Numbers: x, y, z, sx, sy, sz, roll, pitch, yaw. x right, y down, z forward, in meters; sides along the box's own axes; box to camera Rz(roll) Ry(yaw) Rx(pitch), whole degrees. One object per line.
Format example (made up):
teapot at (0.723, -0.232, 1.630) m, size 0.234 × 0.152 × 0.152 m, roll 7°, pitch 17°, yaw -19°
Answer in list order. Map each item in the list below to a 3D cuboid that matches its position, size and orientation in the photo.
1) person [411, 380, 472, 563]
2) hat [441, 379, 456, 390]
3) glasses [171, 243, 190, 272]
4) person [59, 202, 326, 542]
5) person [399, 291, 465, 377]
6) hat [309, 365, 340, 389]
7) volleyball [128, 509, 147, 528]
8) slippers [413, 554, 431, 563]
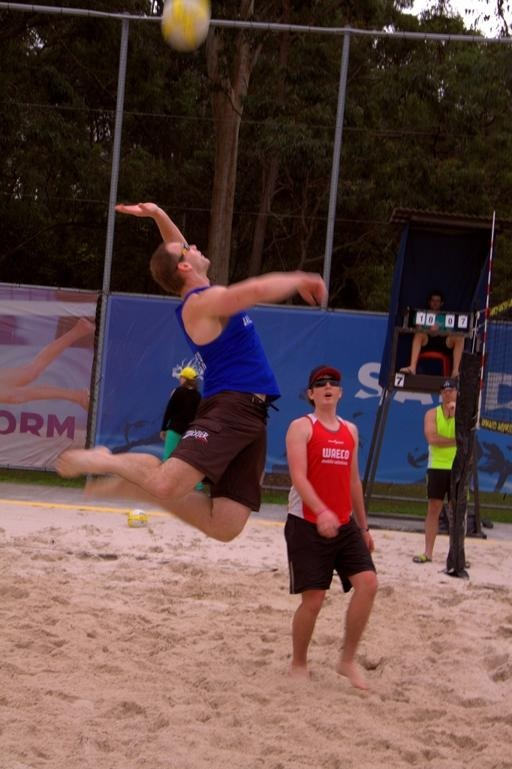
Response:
person at (1.461, 0.694, 6.080) m, size 0.272 × 1.437 × 0.917 m, roll 3°, pitch 0°, yaw 15°
hat at (1.720, -0.005, 6.665) m, size 0.122 × 0.091 × 0.131 m, roll 2°, pitch 2°, yaw 23°
glasses at (-0.319, -0.559, 3.257) m, size 0.027 × 0.098 × 0.091 m, roll 10°, pitch 11°, yaw 10°
person at (-0.212, 0.014, 3.090) m, size 0.945 × 1.394 × 0.601 m, roll 3°, pitch 0°, yaw 5°
person at (1.891, -0.541, 7.741) m, size 0.510 × 0.888 × 1.062 m, roll 3°, pitch 0°, yaw 15°
hat at (0.318, -0.041, 3.399) m, size 0.088 × 0.133 × 0.133 m, roll -1°, pitch 5°, yaw -11°
volleyball at (-1.037, 1.167, 6.543) m, size 0.113 × 0.154 × 0.149 m, roll -4°, pitch -3°, yaw 43°
slippers at (1.293, 1.360, 5.809) m, size 0.139 × 0.066 × 0.156 m, roll 3°, pitch -1°, yaw 12°
